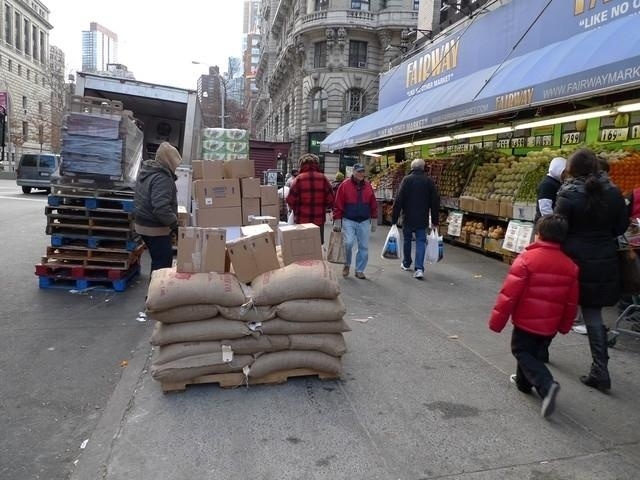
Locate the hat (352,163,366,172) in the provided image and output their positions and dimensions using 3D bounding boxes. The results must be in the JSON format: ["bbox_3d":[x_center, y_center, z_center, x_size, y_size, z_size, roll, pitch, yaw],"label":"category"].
[{"bbox_3d":[0.673,-1.299,8.166,0.160,0.111,0.222,2,7,-8],"label":"hat"}]

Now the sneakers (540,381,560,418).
[{"bbox_3d":[1.998,1.394,3.981,0.116,0.356,0.201,8,13,29],"label":"sneakers"}]

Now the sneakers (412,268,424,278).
[{"bbox_3d":[1.861,0.627,8.684,0.201,0.187,0.250,3,12,10],"label":"sneakers"}]

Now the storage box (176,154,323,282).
[{"bbox_3d":[-0.840,0.065,5.396,1.693,0.617,1.711,7,20,-25],"label":"storage box"}]

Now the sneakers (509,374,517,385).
[{"bbox_3d":[1.934,1.392,4.576,0.049,0.054,0.124,3,12,5],"label":"sneakers"}]

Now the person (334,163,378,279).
[{"bbox_3d":[0.626,-0.333,8.437,0.811,2.098,0.372,1,12,-1],"label":"person"}]

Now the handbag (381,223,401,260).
[{"bbox_3d":[1.366,0.055,8.918,0.291,0.797,0.689,3,12,8],"label":"handbag"}]

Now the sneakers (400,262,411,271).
[{"bbox_3d":[1.763,0.550,9.470,0.085,0.106,0.240,3,10,-8],"label":"sneakers"}]

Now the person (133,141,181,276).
[{"bbox_3d":[-2.117,-0.406,5.947,0.596,1.686,0.754,-3,13,-21],"label":"person"}]

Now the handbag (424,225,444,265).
[{"bbox_3d":[2.174,0.112,8.728,0.302,0.709,0.353,4,12,12],"label":"handbag"}]

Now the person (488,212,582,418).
[{"bbox_3d":[1.955,0.647,4.207,0.632,1.723,0.686,11,15,38],"label":"person"}]

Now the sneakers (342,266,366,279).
[{"bbox_3d":[0.616,0.600,8.601,0.550,0.259,0.178,1,10,29],"label":"sneakers"}]
